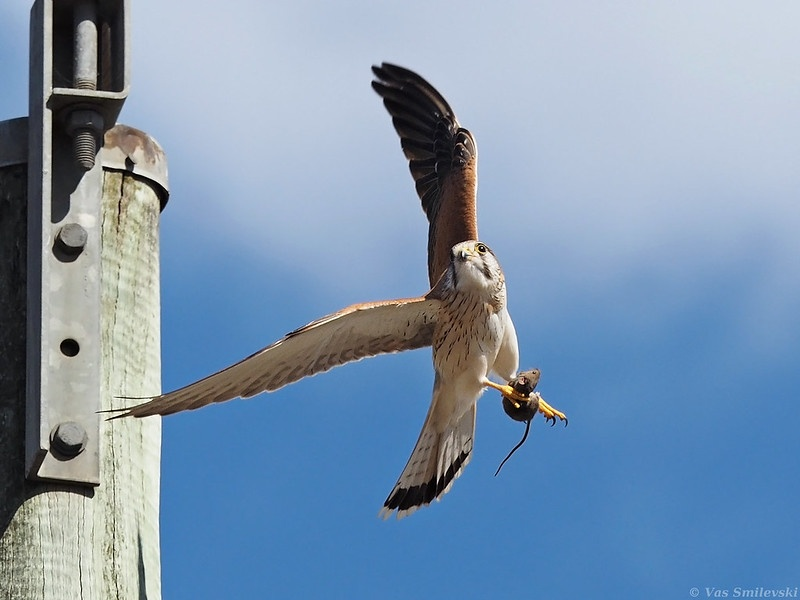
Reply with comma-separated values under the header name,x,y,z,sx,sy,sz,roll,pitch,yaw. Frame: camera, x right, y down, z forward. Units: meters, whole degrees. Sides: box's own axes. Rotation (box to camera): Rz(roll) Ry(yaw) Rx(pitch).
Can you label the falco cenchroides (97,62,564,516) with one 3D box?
name,x,y,z,sx,sy,sz,roll,pitch,yaw
falco cenchroides,-0.026,-0.474,11.132,1.401,2.981,1.723,-24,-43,25
